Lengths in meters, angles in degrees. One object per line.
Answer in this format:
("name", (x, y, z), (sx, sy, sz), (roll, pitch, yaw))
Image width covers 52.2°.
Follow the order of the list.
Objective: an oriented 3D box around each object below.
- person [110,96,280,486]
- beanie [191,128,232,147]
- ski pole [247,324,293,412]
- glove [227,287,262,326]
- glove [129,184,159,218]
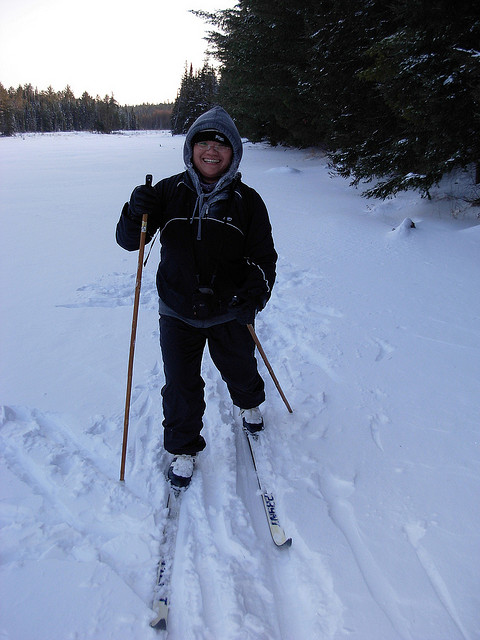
("person", (-0.227, -0.176, 2.801), (0.895, 1.969, 1.024), (5, 21, 4))
("beanie", (-0.151, -0.945, 2.495), (0.208, 0.088, 0.074), (11, 23, 20))
("ski pole", (0.217, 0.364, 3.545), (0.073, 0.040, 0.731), (-30, 67, -2))
("glove", (0.030, -0.071, 2.524), (0.147, 0.179, 0.196), (-3, 10, -11))
("glove", (-0.491, -0.616, 2.497), (0.142, 0.175, 0.173), (-2, 22, -12))
